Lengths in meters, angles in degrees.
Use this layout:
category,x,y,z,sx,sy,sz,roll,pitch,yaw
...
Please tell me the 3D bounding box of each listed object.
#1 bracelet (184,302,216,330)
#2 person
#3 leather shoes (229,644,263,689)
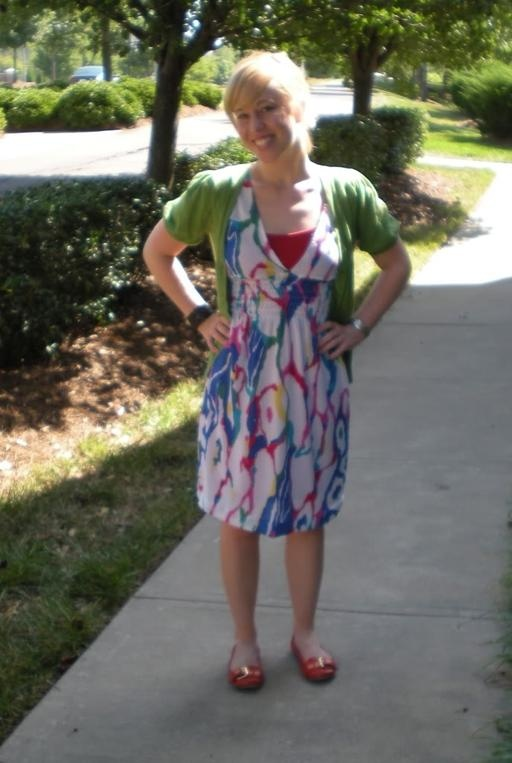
category,x,y,z,sx,sy,sz,roll,pitch,yaw
bracelet,-0.169,-0.192,2.243,0.078,0.047,0.077,-30,12,28
person,0.032,-0.242,2.146,0.768,1.289,0.480,7,19,10
leather shoes,-0.029,0.872,2.290,0.104,0.065,0.191,0,-6,1
